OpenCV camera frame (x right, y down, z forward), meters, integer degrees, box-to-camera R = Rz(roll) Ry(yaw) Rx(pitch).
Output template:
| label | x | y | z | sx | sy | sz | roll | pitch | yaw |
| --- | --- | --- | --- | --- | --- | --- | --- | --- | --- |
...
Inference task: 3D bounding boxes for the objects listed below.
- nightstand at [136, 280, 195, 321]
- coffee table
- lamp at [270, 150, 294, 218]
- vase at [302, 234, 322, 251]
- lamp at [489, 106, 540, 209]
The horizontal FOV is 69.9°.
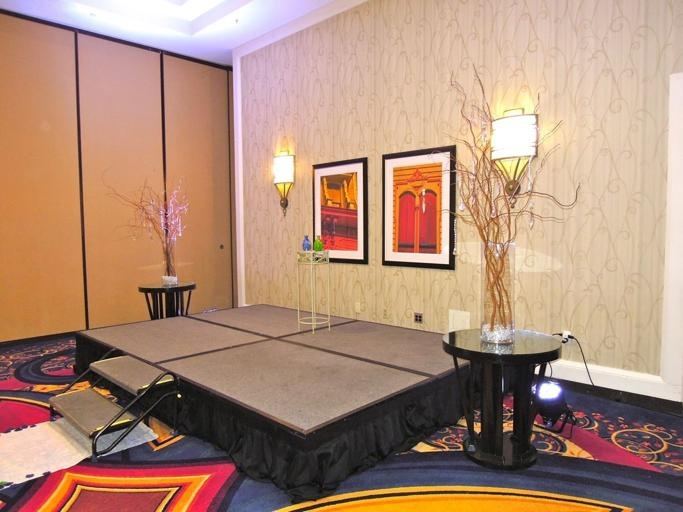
| label | x | y | z | sx | sy | sz | roll | pitch | yaw |
| --- | --- | --- | --- | --- | --- | --- | --- | --- | --- |
| nightstand | -2.222 | 0.532 | 6.196 | 0.563 | 0.681 | 0.586 | 0 | 3 | -2 |
| coffee table | 1.147 | 0.955 | 3.655 | 0.860 | 0.882 | 0.848 | 0 | 2 | 1 |
| lamp | -0.781 | -0.981 | 6.587 | 0.307 | 0.875 | 0.149 | 9 | 13 | 37 |
| vase | -0.345 | -0.157 | 5.570 | 0.228 | 0.161 | 0.087 | 0 | 0 | 14 |
| lamp | 1.596 | -0.923 | 4.543 | 0.420 | 0.754 | 0.208 | 5 | 11 | 24 |
